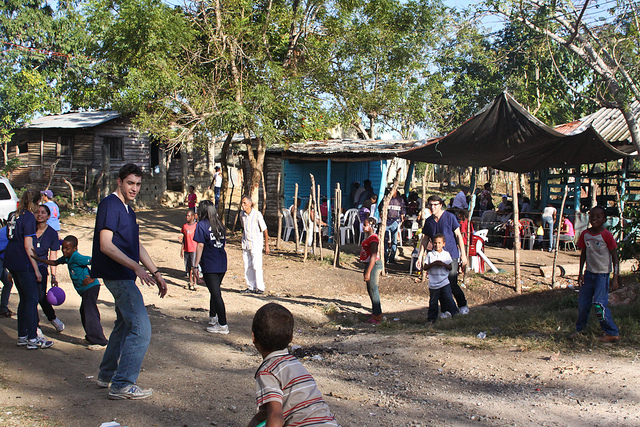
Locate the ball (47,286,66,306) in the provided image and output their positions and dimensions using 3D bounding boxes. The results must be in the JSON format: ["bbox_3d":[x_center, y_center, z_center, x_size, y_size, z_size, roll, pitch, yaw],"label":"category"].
[{"bbox_3d":[-4.798,1.491,11.239,0.316,0.313,0.359,9,14,1],"label":"ball"}]

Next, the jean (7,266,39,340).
[{"bbox_3d":[-5.166,1.546,10.653,0.533,1.268,0.252,3,2,15],"label":"jean"}]

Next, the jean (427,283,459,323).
[{"bbox_3d":[2.705,1.962,13.281,0.777,1.002,0.334,-8,3,-21],"label":"jean"}]

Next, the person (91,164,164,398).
[{"bbox_3d":[-3.064,1.043,9.515,0.976,3.625,0.789,1,2,-22],"label":"person"}]

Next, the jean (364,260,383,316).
[{"bbox_3d":[1.205,1.647,13.453,0.306,1.277,0.558,2,2,5],"label":"jean"}]

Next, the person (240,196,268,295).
[{"bbox_3d":[-1.595,0.800,14.662,0.665,2.379,1.175,2,2,-5],"label":"person"}]

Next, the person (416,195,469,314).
[{"bbox_3d":[2.764,0.947,13.528,0.983,2.675,0.880,-6,4,25],"label":"person"}]

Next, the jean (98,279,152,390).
[{"bbox_3d":[-3.034,1.863,9.473,0.799,1.677,0.384,3,2,26],"label":"jean"}]

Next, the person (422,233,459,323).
[{"bbox_3d":[2.626,1.411,13.184,0.458,1.915,0.745,4,2,41],"label":"person"}]

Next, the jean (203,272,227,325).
[{"bbox_3d":[-2.094,1.687,12.026,0.404,1.074,0.557,2,2,5],"label":"jean"}]

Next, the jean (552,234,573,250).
[{"bbox_3d":[7.615,0.888,19.075,0.528,0.720,0.524,-2,4,-6],"label":"jean"}]

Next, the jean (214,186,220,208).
[{"bbox_3d":[-4.431,-0.716,26.069,0.216,0.805,0.875,2,1,-10],"label":"jean"}]

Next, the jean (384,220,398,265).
[{"bbox_3d":[2.168,0.846,18.561,0.381,1.312,0.901,2,2,5],"label":"jean"}]

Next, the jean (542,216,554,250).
[{"bbox_3d":[7.336,0.630,19.519,0.381,0.717,1.644,3,1,21],"label":"jean"}]

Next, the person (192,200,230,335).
[{"bbox_3d":[-2.146,1.084,12.114,0.739,2.698,0.806,2,2,-10],"label":"person"}]

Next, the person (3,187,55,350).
[{"bbox_3d":[-5.168,0.961,10.746,0.743,2.786,0.674,1,2,-28],"label":"person"}]
